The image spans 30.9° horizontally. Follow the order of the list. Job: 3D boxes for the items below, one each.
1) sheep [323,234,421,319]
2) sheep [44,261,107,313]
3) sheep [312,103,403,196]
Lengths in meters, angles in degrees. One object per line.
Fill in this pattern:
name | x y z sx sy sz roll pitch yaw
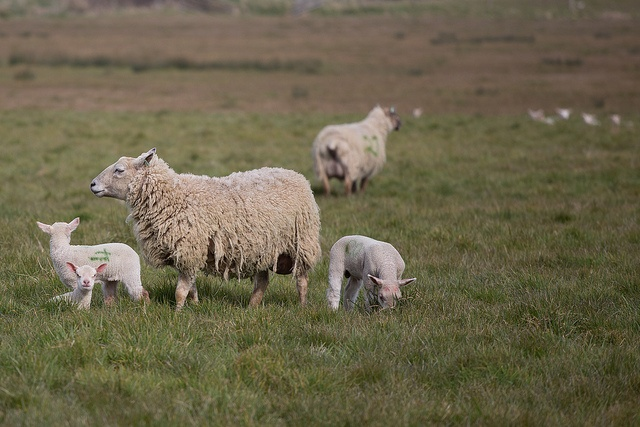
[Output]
sheep | 1.120 1.482 25.595 1.224 1.737 2.383 -2 11 -32
sheep | -5.139 1.745 25.331 0.816 1.287 1.794 3 -2 -15
sheep | 1.049 -1.645 32.020 1.455 2.376 2.969 11 17 34
